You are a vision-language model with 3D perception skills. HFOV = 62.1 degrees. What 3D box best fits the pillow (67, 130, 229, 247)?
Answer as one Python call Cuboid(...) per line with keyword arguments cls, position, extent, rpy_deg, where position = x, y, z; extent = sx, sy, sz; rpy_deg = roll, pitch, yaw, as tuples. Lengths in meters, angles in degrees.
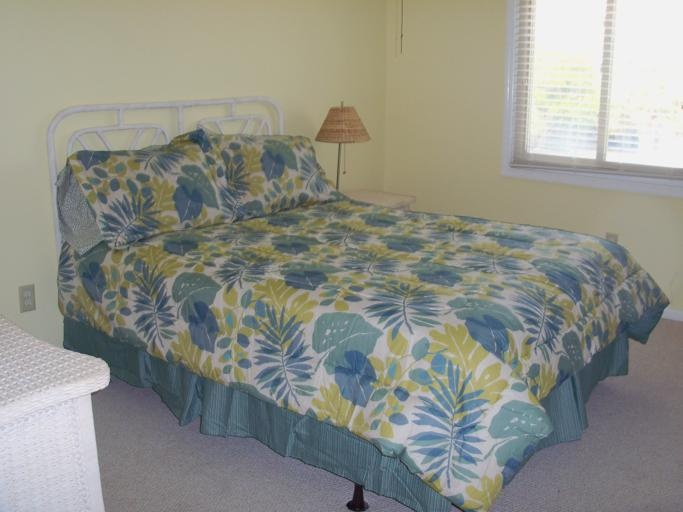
Cuboid(cls="pillow", position=(-0.939, -0.314, 2.692), extent=(0.580, 0.553, 0.174), rpy_deg=(-13, -12, -26))
